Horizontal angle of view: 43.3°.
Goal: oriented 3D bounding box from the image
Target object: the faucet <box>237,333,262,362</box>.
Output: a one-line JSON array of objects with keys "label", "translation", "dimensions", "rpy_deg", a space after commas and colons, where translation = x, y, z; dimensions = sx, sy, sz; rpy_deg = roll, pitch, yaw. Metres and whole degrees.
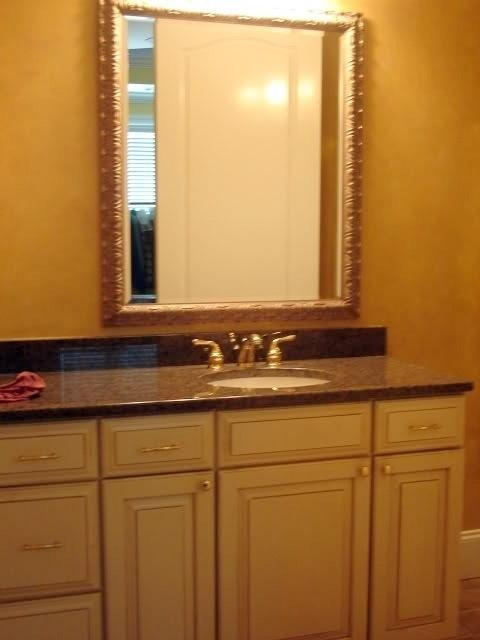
[{"label": "faucet", "translation": [0.030, 0.095, 1.944], "dimensions": [0.078, 0.097, 0.117], "rpy_deg": [0, 2, 1]}]
